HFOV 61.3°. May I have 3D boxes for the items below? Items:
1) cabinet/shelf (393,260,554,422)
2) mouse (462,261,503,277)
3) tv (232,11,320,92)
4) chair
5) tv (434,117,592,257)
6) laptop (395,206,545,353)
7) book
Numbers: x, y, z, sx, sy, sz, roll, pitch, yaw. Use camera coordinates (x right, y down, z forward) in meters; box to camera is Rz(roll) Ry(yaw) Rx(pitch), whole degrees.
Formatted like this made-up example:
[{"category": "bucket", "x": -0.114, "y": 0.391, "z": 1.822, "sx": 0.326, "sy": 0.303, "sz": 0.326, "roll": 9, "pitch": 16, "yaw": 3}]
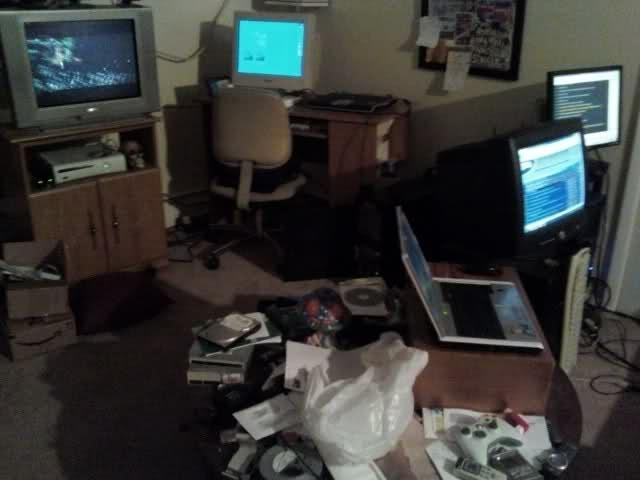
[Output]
[{"category": "cabinet/shelf", "x": 0.568, "y": 0.380, "z": 1.937, "sx": 0.392, "sy": 0.263, "sz": 0.551, "roll": 2, "pitch": 40, "yaw": -7}, {"category": "mouse", "x": 0.712, "y": 0.128, "z": 2.372, "sx": 0.092, "sy": 0.024, "sz": 0.091, "roll": 1, "pitch": 16, "yaw": 4}, {"category": "tv", "x": -0.309, "y": -1.365, "z": 4.131, "sx": 0.605, "sy": 0.516, "sz": 0.565, "roll": 3, "pitch": 10, "yaw": 6}, {"category": "chair", "x": -0.525, "y": -0.429, "z": 3.707, "sx": 0.713, "sy": 1.239, "sz": 0.540, "roll": 10, "pitch": 28, "yaw": 20}, {"category": "tv", "x": 0.966, "y": -0.299, "z": 2.688, "sx": 0.675, "sy": 0.603, "sz": 0.684, "roll": 23, "pitch": 36, "yaw": 39}, {"category": "laptop", "x": 0.536, "y": 0.203, "z": 2.029, "sx": 0.518, "sy": 0.329, "sz": 0.548, "roll": -4, "pitch": 28, "yaw": 2}, {"category": "book", "x": -0.358, "y": 0.391, "z": 2.188, "sx": 0.371, "sy": 0.046, "sz": 0.205, "roll": -14, "pitch": 29, "yaw": -27}]
